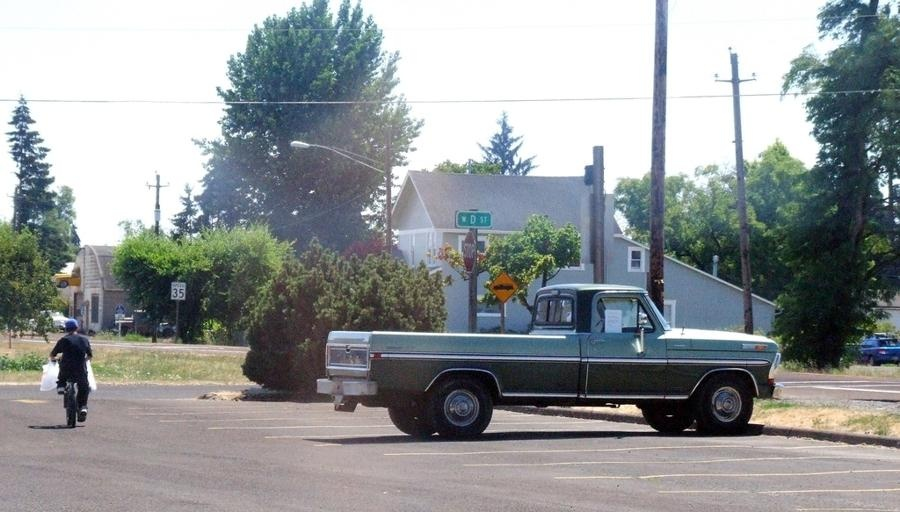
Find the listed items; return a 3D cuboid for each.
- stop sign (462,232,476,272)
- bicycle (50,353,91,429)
[{"bbox_3d":[0.749,-0.205,40.084,0.299,1.546,0.895,2,-2,-9],"label":"stop sign"},{"bbox_3d":[-12.671,4.909,37.659,0.973,1.188,1.964,0,-2,-11],"label":"bicycle"}]
